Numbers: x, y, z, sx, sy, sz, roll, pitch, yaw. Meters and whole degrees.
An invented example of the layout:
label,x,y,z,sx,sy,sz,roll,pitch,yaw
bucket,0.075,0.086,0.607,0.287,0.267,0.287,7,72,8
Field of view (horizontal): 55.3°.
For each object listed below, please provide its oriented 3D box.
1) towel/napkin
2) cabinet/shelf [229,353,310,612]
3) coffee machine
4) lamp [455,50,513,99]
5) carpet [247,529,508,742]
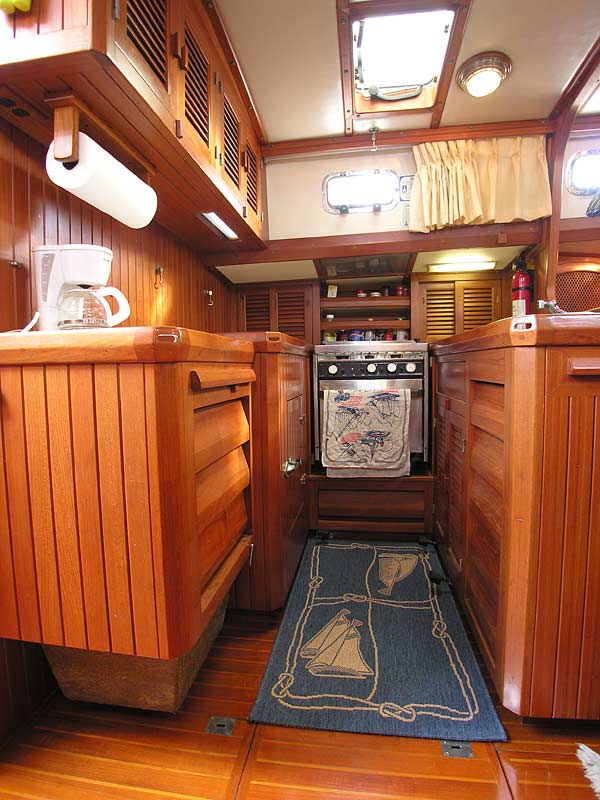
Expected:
label,x,y,z,sx,sy,sz,roll,pitch,yaw
towel/napkin,0.354,0.183,3.103,0.465,0.471,0.147,-1,9,1
cabinet/shelf,-0.083,0.283,2.285,0.300,0.842,0.558,3,6,0
coffee machine,-0.682,-0.338,1.732,0.223,0.243,0.120,-5,10,-23
lamp,0.796,-1.415,2.482,0.224,0.118,0.149,2,9,18
carpet,0.281,0.823,2.121,0.706,0.037,1.141,0,9,7
